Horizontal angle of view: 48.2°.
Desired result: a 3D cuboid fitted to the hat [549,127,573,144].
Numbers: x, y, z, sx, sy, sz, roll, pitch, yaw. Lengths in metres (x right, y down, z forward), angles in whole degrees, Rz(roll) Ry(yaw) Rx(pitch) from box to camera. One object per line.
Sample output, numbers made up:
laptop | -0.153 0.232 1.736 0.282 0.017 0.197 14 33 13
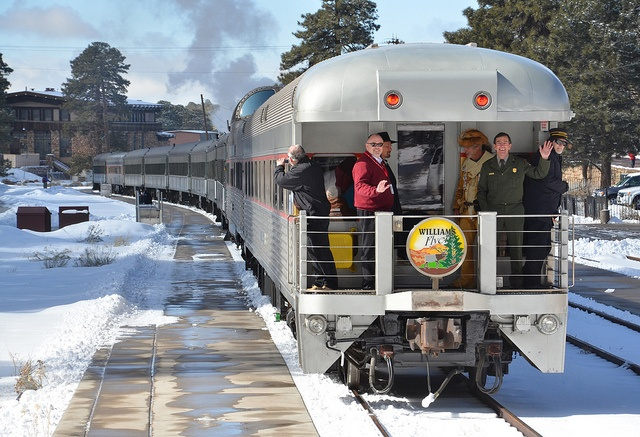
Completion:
hat | 3.353 -1.193 10.170 0.310 0.222 0.397 0 12 -18

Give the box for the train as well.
train | 0.720 -0.225 12.563 3.691 5.109 7.410 0 5 -15

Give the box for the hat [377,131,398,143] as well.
hat | 0.947 -1.170 10.212 0.204 0.116 0.297 2 3 -1

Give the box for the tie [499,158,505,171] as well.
tie | 2.545 -0.758 9.993 0.048 0.177 0.023 -1 -20 10

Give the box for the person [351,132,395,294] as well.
person | 0.724 -0.109 9.881 0.569 2.108 0.764 2 5 5
